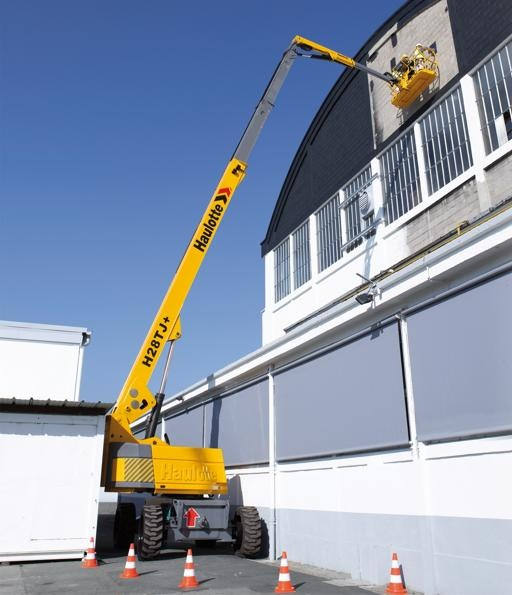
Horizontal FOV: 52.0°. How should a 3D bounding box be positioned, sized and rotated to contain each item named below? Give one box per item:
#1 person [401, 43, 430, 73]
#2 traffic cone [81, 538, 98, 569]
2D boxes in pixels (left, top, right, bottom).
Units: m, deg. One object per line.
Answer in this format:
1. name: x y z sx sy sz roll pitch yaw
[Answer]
1. person: 4.859 -7.258 15.952 0.617 1.173 0.548 4 -45 19
2. traffic cone: -3.059 4.708 9.671 0.289 0.458 0.836 5 -22 -16
